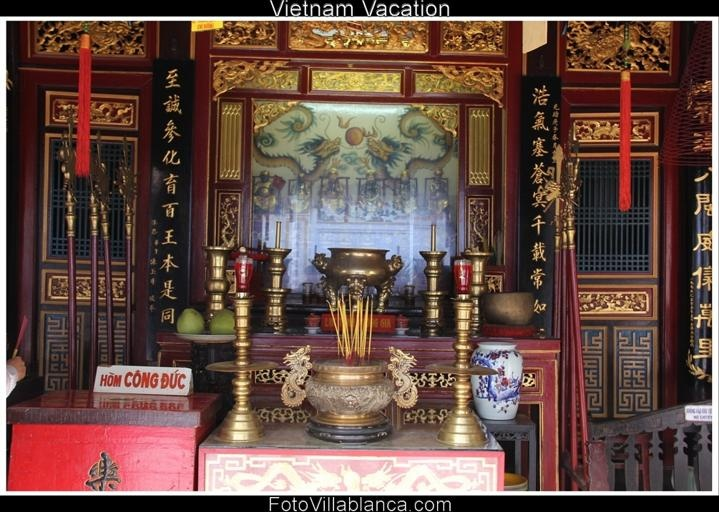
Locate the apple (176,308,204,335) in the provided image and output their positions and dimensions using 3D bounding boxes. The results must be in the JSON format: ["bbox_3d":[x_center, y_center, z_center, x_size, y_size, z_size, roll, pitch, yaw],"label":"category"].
[{"bbox_3d":[-0.934,0.372,5.489,0.156,0.152,0.145,10,-3,1],"label":"apple"}]

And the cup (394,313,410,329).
[{"bbox_3d":[0.247,0.391,5.791,0.093,0.074,0.083,2,-13,-5],"label":"cup"}]

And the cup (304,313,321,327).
[{"bbox_3d":[-0.281,0.382,5.777,0.089,0.059,0.085,-1,-9,0],"label":"cup"}]
